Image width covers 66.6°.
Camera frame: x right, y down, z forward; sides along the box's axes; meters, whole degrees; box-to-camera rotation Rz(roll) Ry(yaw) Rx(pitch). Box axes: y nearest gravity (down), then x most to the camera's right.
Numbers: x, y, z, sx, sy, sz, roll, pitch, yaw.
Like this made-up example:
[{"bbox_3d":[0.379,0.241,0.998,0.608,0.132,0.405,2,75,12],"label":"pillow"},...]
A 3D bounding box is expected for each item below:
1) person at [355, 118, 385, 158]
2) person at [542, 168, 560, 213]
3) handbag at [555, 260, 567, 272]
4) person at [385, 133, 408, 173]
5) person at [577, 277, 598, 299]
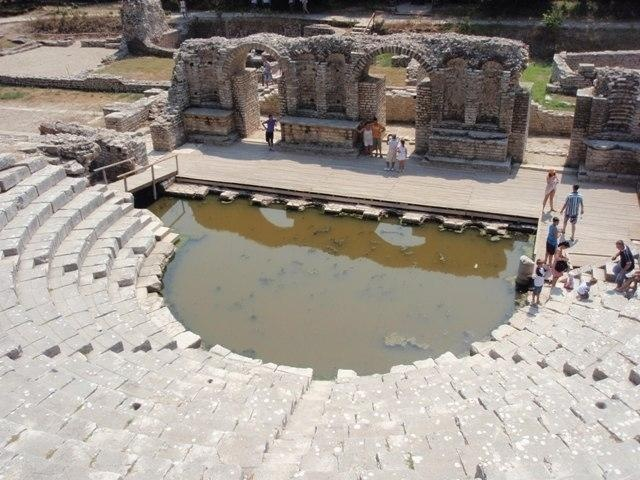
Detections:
[{"bbox_3d":[1.682,-3.605,17.115,0.959,1.323,0.793,14,27,28],"label":"person"},{"bbox_3d":[6.533,-1.399,13.695,0.336,1.204,0.811,11,26,23],"label":"person"},{"bbox_3d":[5.476,0.593,10.999,0.283,0.239,0.101,-4,18,1],"label":"handbag"},{"bbox_3d":[2.528,-2.864,16.069,0.661,1.166,0.994,3,23,7],"label":"person"},{"bbox_3d":[5.746,1.017,10.445,0.243,0.341,0.820,17,27,34],"label":"person"}]
